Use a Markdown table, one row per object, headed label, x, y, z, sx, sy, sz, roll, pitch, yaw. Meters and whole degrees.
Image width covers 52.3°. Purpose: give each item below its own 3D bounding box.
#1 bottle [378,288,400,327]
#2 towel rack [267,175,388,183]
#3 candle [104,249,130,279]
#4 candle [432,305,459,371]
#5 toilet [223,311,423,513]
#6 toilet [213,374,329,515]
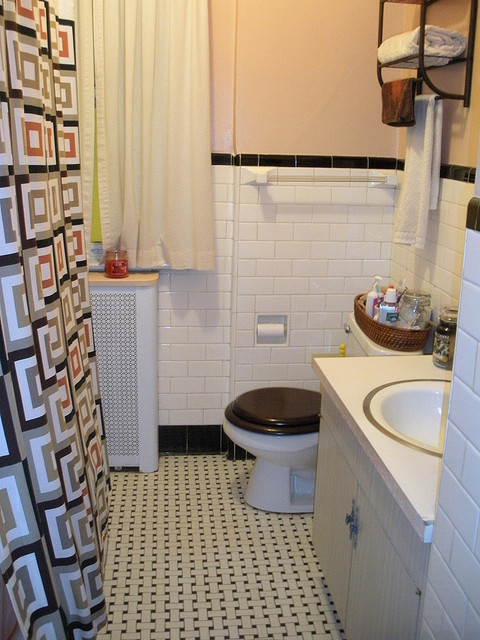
| label | x | y | z | sx | sy | sz | roll | pitch | yaw |
| --- | --- | --- | --- | --- | --- | --- | --- | --- | --- |
| bottle | 0.562 | -0.041 | 1.841 | 0.062 | 0.176 | 0.073 | 8 | 21 | 20 |
| towel rack | 0.408 | -0.666 | 2.309 | 0.556 | 0.041 | 0.038 | 1 | 11 | -5 |
| candle | -0.569 | -0.255 | 2.265 | 0.090 | 0.164 | 0.117 | 0 | 1 | -14 |
| candle | 0.661 | 0.056 | 1.575 | 0.081 | 0.193 | 0.093 | -8 | 22 | -36 |
| toilet | 0.317 | 0.340 | 2.446 | 0.743 | 1.305 | 0.625 | 1 | 14 | -1 |
| toilet | 0.125 | 0.494 | 2.227 | 0.432 | 0.557 | 0.524 | -5 | 17 | -13 |
